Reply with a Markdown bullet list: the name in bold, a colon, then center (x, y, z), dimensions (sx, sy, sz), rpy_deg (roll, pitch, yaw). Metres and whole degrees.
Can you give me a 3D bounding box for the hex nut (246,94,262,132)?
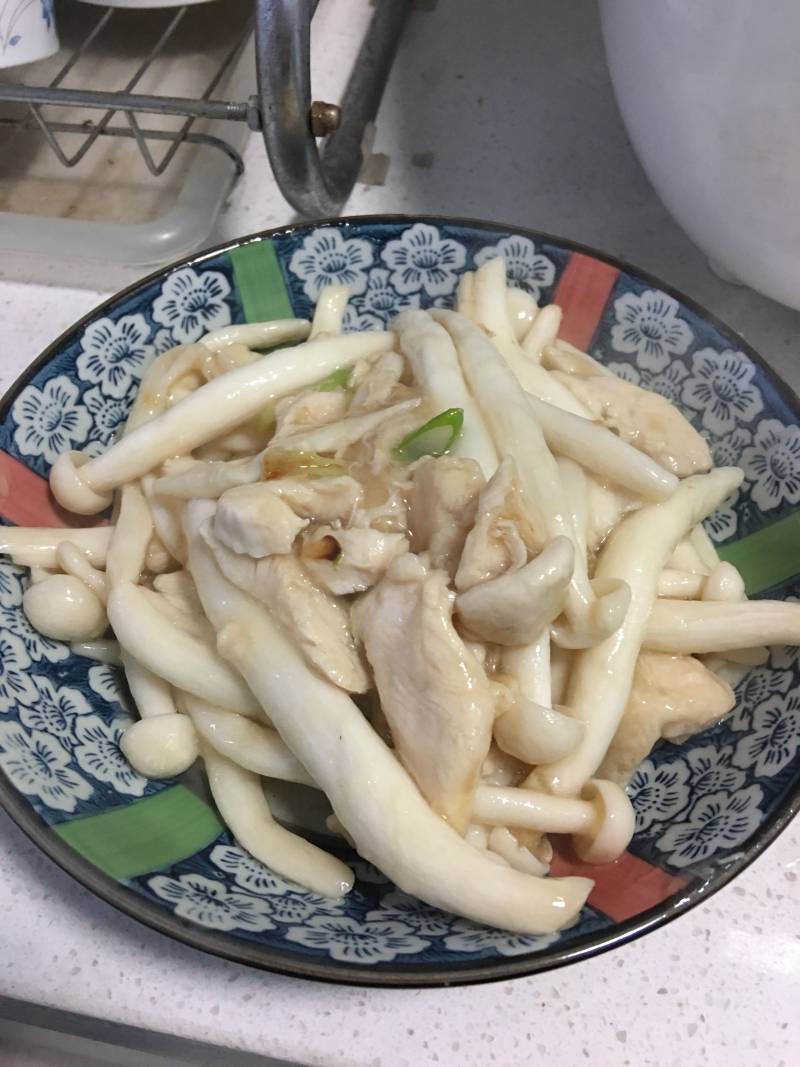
- **hex nut**: center (-0.134, -0.389, 0.995), dimensions (0.010, 0.030, 0.025), rpy_deg (-10, 19, -30)
